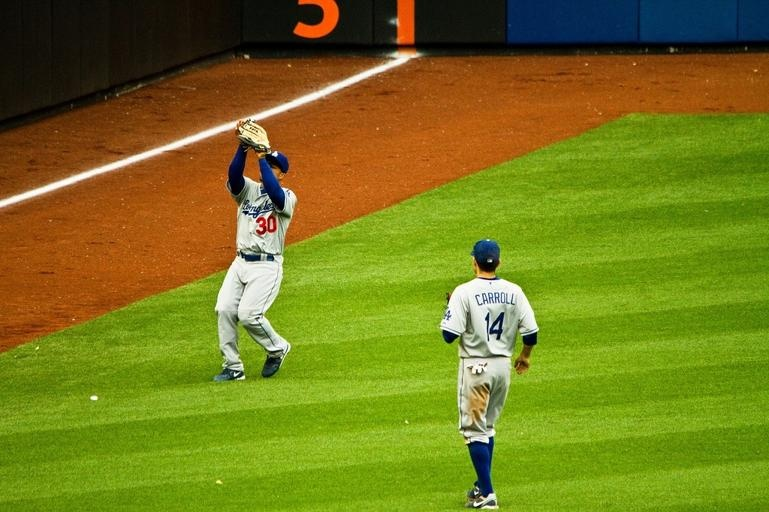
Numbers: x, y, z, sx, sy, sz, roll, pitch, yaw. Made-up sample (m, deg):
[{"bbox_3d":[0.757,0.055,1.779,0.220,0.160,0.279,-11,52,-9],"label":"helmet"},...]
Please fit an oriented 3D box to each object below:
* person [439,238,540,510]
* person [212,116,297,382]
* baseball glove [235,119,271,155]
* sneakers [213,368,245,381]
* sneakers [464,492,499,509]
[{"bbox_3d":[1.238,1.490,19.004,1.144,3.204,0.433,2,0,1],"label":"person"},{"bbox_3d":[-1.765,-0.017,20.911,1.001,3.543,0.545,2,0,-7],"label":"person"},{"bbox_3d":[-1.862,-1.564,20.772,0.513,0.374,0.186,41,-34,-21],"label":"baseball glove"},{"bbox_3d":[-2.123,1.678,21.068,0.474,0.186,0.159,2,0,-7],"label":"sneakers"},{"bbox_3d":[1.185,3.065,18.890,0.419,0.161,0.161,2,0,5],"label":"sneakers"}]
